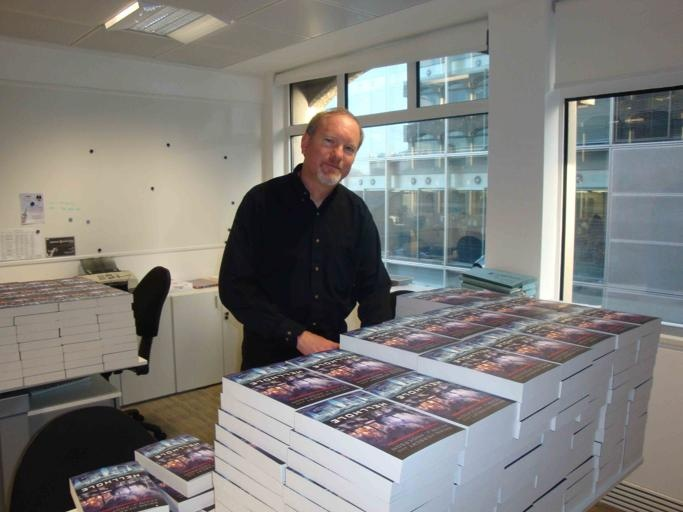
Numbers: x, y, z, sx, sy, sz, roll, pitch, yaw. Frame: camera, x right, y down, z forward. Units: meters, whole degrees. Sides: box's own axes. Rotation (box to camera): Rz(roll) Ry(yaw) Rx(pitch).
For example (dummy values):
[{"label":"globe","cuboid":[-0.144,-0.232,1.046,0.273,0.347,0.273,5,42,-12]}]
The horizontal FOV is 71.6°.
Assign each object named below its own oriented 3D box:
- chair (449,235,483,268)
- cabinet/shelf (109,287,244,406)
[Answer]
[{"label":"chair","cuboid":[1.016,-0.042,3.825,0.127,0.218,0.238,-9,14,-37]},{"label":"cabinet/shelf","cuboid":[-1.352,0.706,3.742,1.245,0.960,0.429,-4,10,-41]}]
